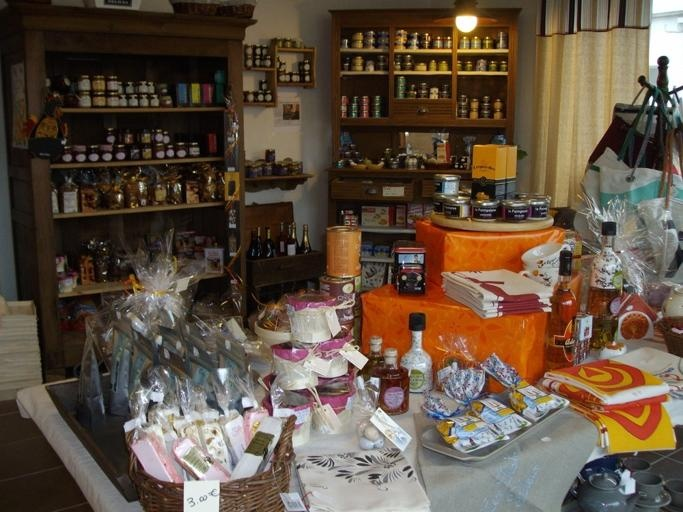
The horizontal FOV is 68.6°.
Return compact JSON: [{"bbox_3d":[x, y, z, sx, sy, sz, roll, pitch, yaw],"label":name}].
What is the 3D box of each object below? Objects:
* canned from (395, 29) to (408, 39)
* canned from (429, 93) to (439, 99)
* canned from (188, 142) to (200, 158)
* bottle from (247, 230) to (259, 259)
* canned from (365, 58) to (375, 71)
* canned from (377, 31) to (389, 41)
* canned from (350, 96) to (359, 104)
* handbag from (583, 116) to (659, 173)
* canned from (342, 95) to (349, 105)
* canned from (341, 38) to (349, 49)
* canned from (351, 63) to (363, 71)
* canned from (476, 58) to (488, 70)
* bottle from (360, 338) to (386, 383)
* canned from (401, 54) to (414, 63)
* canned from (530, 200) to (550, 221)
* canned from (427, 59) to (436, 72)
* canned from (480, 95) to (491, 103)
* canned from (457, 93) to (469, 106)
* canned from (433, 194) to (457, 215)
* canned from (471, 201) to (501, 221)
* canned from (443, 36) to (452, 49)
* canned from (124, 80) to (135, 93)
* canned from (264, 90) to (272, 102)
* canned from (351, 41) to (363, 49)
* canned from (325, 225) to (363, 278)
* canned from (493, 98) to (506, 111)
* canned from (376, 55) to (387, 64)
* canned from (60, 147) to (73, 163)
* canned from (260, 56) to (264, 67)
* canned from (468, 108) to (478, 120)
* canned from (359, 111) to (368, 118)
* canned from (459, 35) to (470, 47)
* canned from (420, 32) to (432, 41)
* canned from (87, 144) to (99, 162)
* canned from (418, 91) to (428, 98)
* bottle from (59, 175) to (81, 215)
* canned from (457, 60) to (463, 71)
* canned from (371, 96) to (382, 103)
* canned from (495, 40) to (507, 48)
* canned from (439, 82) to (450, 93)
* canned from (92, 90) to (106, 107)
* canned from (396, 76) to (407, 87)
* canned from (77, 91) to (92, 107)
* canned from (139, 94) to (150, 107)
[{"bbox_3d":[0.524,-1.910,4.319,0.107,0.079,0.033,-10,12,-27],"label":"canned"},{"bbox_3d":[0.822,-1.410,4.422,0.076,0.058,0.101,-2,11,11],"label":"canned"},{"bbox_3d":[-1.096,-0.791,3.725,0.098,0.143,0.108,-6,14,-30],"label":"canned"},{"bbox_3d":[-0.754,-0.100,4.245,0.101,0.229,0.120,-4,11,6],"label":"bottle"},{"bbox_3d":[0.248,-1.680,4.420,0.103,0.102,0.100,-2,12,-4],"label":"canned"},{"bbox_3d":[0.356,-1.894,4.343,0.087,0.083,0.084,-1,13,-10],"label":"canned"},{"bbox_3d":[0.122,-1.403,4.507,0.066,0.060,0.063,-10,6,-39],"label":"canned"},{"bbox_3d":[1.630,-0.632,2.804,0.340,0.301,0.157,-5,31,-5],"label":"handbag"},{"bbox_3d":[0.033,-1.406,4.530,0.077,0.076,0.077,2,4,40],"label":"canned"},{"bbox_3d":[0.033,-1.893,4.441,0.070,0.104,0.094,-4,11,2],"label":"canned"},{"bbox_3d":[0.141,-1.656,4.409,0.096,0.074,0.055,-4,11,3],"label":"canned"},{"bbox_3d":[1.219,-1.654,4.364,0.103,0.109,0.100,0,8,3],"label":"canned"},{"bbox_3d":[0.114,0.338,1.603,0.089,0.145,0.088,-1,1,0],"label":"bottle"},{"bbox_3d":[0.582,-1.726,4.389,0.079,0.084,0.077,3,1,7],"label":"canned"},{"bbox_3d":[0.775,-0.180,1.986,0.082,0.074,0.081,1,9,13],"label":"canned"},{"bbox_3d":[0.797,-1.671,4.396,0.084,0.123,0.144,-3,11,11],"label":"canned"},{"bbox_3d":[1.277,-1.384,4.434,0.085,0.084,0.083,1,0,-1],"label":"canned"},{"bbox_3d":[1.068,-1.393,4.444,0.102,0.090,0.099,0,15,-1],"label":"canned"},{"bbox_3d":[0.421,-0.210,2.044,0.081,0.064,0.079,4,10,18],"label":"canned"},{"bbox_3d":[0.554,-0.171,1.913,0.087,0.060,0.085,-1,5,-15],"label":"canned"},{"bbox_3d":[0.916,-1.842,4.323,0.070,0.130,0.119,-2,11,13],"label":"canned"},{"bbox_3d":[-1.476,-1.165,3.483,0.069,0.083,0.104,-8,11,-16],"label":"canned"},{"bbox_3d":[-0.652,-1.425,4.473,0.041,0.091,0.074,6,15,45],"label":"canned"},{"bbox_3d":[0.130,-1.827,4.366,0.078,0.054,0.076,3,11,5],"label":"canned"},{"bbox_3d":[0.008,-0.017,1.959,0.176,0.165,0.178,6,10,43],"label":"canned"},{"bbox_3d":[1.380,-1.310,4.388,0.102,0.111,0.120,3,10,21],"label":"canned"},{"bbox_3d":[0.354,-1.740,4.428,0.078,0.071,0.037,3,20,5],"label":"canned"},{"bbox_3d":[-1.818,-0.672,3.329,0.059,0.109,0.102,-4,11,3],"label":"canned"},{"bbox_3d":[-0.691,-1.688,4.361,0.050,0.089,0.049,2,2,5],"label":"canned"},{"bbox_3d":[1.171,-1.251,4.415,0.082,0.105,0.130,-2,11,15],"label":"canned"},{"bbox_3d":[0.201,-1.271,4.511,0.061,0.061,0.058,-1,10,-13],"label":"canned"},{"bbox_3d":[1.054,-1.824,4.296,0.103,0.091,0.099,2,7,1],"label":"canned"},{"bbox_3d":[0.725,-1.886,4.345,0.084,0.088,0.081,1,5,-5],"label":"canned"},{"bbox_3d":[-1.678,-0.694,3.406,0.087,0.106,0.058,-14,14,-41],"label":"canned"},{"bbox_3d":[0.727,-1.417,4.433,0.064,0.044,0.062,-1,7,-13],"label":"canned"},{"bbox_3d":[-1.818,-0.385,3.342,0.091,0.204,0.108,-2,11,14],"label":"bottle"},{"bbox_3d":[1.040,-1.667,4.382,0.039,0.109,0.160,-1,11,18],"label":"canned"},{"bbox_3d":[0.308,-1.400,4.520,0.081,0.083,0.079,1,1,7],"label":"canned"},{"bbox_3d":[1.358,-1.799,4.253,0.074,0.079,0.076,1,3,-5],"label":"canned"},{"bbox_3d":[0.917,-1.478,4.463,0.091,0.137,0.089,1,-3,5],"label":"canned"},{"bbox_3d":[-1.618,-1.047,3.346,0.098,0.102,0.100,14,15,43],"label":"canned"},{"bbox_3d":[0.545,-1.549,4.453,0.042,0.095,0.112,5,14,40],"label":"canned"},{"bbox_3d":[-1.688,-1.034,3.296,0.101,0.091,0.085,2,8,7],"label":"canned"},{"bbox_3d":[-1.378,-1.084,3.493,0.076,0.088,0.033,-9,12,-24],"label":"canned"}]
